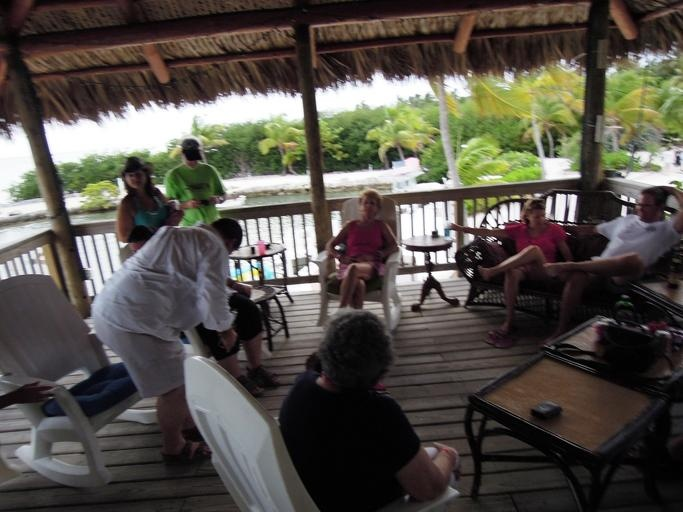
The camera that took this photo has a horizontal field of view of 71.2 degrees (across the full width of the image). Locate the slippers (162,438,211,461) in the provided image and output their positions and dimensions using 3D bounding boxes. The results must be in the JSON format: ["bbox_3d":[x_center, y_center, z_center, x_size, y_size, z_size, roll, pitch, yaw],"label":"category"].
[{"bbox_3d":[-1.063,1.298,3.164,0.377,0.096,0.126,-5,40,-4],"label":"slippers"}]

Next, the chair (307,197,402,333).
[{"bbox_3d":[0.176,0.069,4.759,0.924,1.079,0.810,2,22,10],"label":"chair"}]

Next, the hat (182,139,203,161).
[{"bbox_3d":[-1.534,-1.092,5.007,0.198,0.198,0.222,2,-15,-8],"label":"hat"}]

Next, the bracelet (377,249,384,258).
[{"bbox_3d":[0.388,-0.029,4.721,0.054,0.072,0.081,-1,-13,41],"label":"bracelet"}]

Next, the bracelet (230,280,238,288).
[{"bbox_3d":[-0.870,0.226,3.847,0.061,0.052,0.026,19,-11,-1],"label":"bracelet"}]

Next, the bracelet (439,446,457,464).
[{"bbox_3d":[0.511,0.953,2.310,0.087,0.052,0.078,-4,5,13],"label":"bracelet"}]

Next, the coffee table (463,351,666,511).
[{"bbox_3d":[1.229,0.826,2.602,0.858,0.569,0.849,14,33,40],"label":"coffee table"}]

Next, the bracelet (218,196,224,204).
[{"bbox_3d":[-1.279,-0.598,5.071,0.072,0.075,0.078,10,12,20],"label":"bracelet"}]

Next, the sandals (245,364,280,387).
[{"bbox_3d":[-0.637,0.965,3.866,0.318,0.111,0.123,6,15,8],"label":"sandals"}]

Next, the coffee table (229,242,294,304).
[{"bbox_3d":[-0.840,0.245,5.239,0.498,0.479,0.466,-2,16,27],"label":"coffee table"}]
